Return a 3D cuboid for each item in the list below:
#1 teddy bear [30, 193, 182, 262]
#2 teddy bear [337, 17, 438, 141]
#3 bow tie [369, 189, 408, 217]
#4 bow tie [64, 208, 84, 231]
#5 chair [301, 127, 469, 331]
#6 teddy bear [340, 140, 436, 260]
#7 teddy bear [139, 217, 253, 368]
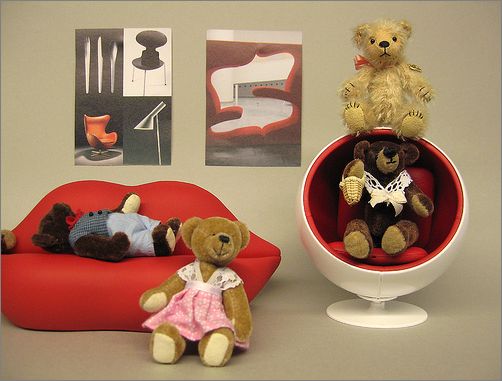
[{"bbox_3d":[-0.832,0.182,3.494,1.105,0.430,0.559,1,5,7],"label":"teddy bear"},{"bbox_3d":[0.825,-0.669,3.298,0.515,0.702,0.260,6,12,31],"label":"teddy bear"},{"bbox_3d":[0.801,0.049,3.192,0.202,0.140,0.129,1,10,10],"label":"bow tie"},{"bbox_3d":[-1.059,0.164,3.293,0.101,0.096,0.027,25,-31,-23],"label":"bow tie"},{"bbox_3d":[0.803,0.131,3.496,1.076,1.116,0.996,2,9,11],"label":"chair"},{"bbox_3d":[0.763,0.009,3.231,0.533,0.701,0.514,0,6,9],"label":"teddy bear"},{"bbox_3d":[-0.247,0.476,2.915,0.575,0.725,0.533,-1,6,-2],"label":"teddy bear"}]
